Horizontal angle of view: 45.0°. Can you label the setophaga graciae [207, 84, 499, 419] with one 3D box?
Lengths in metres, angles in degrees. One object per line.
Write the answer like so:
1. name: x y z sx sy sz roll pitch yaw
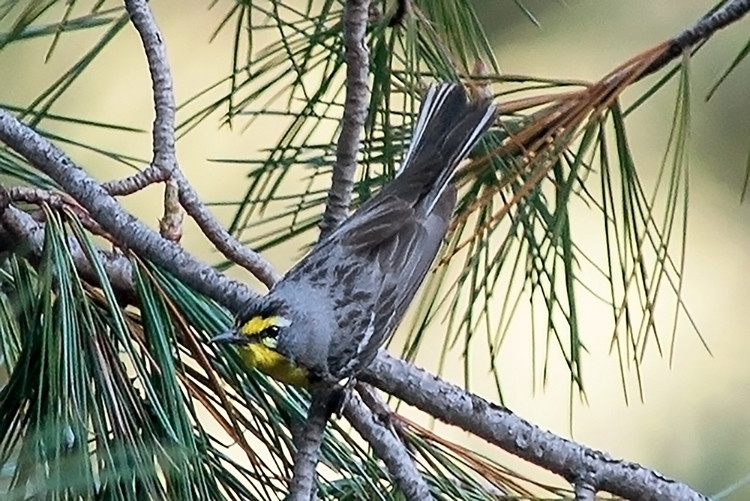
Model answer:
1. setophaga graciae: -0.037 0.006 2.264 0.232 0.914 0.465 29 10 33
